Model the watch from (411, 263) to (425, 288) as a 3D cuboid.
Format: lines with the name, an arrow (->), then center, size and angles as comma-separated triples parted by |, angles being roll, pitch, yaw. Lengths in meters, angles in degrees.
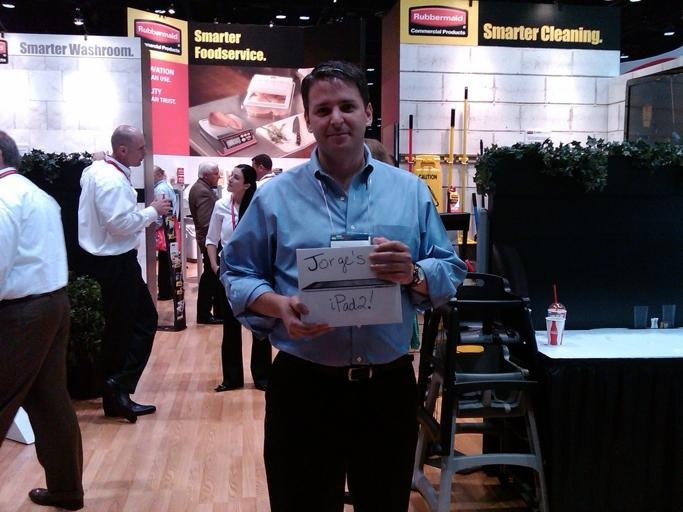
watch -> 0.268, 0.071, 1.980 | 0.070, 0.079, 0.049 | -2, 7, -15

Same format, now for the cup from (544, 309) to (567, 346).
cup -> 1.184, 0.410, 3.186 | 0.146, 0.197, 0.149 | 1, -5, 0

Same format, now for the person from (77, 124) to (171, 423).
person -> -1.679, 0.106, 4.409 | 0.600, 2.176, 0.563 | 4, 10, 25

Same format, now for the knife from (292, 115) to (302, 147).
knife -> -0.762, -2.154, 9.962 | 0.120, 0.537, 0.060 | 0, -16, -1

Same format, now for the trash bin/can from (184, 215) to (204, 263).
trash bin/can -> -3.100, -0.288, 11.620 | 0.513, 0.737, 0.524 | 5, 6, 4
